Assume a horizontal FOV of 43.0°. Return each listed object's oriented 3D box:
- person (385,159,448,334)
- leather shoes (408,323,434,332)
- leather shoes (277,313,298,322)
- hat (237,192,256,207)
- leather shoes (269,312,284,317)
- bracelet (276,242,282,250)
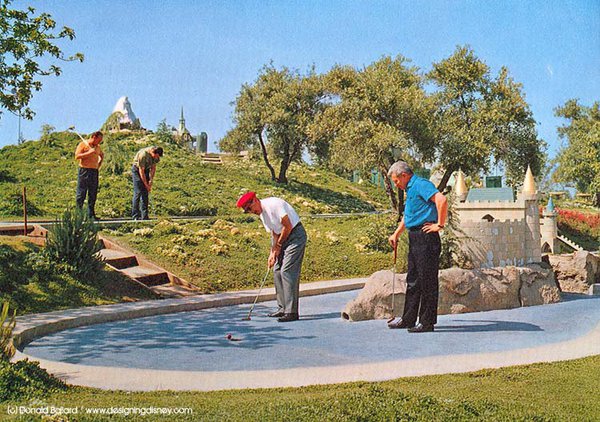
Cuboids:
[{"bbox_3d":[2.692,0.862,17.383,1.309,3.878,0.651,10,14,38],"label":"person"},{"bbox_3d":[2.767,2.685,17.423,0.573,0.263,0.225,2,-3,-5],"label":"leather shoes"},{"bbox_3d":[-0.313,2.512,18.200,0.536,0.264,0.191,2,-2,-5],"label":"leather shoes"},{"bbox_3d":[-1.236,-0.367,17.850,0.399,0.141,0.478,-41,9,26],"label":"hat"},{"bbox_3d":[-0.553,2.454,18.408,0.395,0.185,0.145,1,-2,17],"label":"leather shoes"},{"bbox_3d":[-0.501,0.801,17.946,0.115,0.098,0.125,3,-1,9],"label":"bracelet"}]
